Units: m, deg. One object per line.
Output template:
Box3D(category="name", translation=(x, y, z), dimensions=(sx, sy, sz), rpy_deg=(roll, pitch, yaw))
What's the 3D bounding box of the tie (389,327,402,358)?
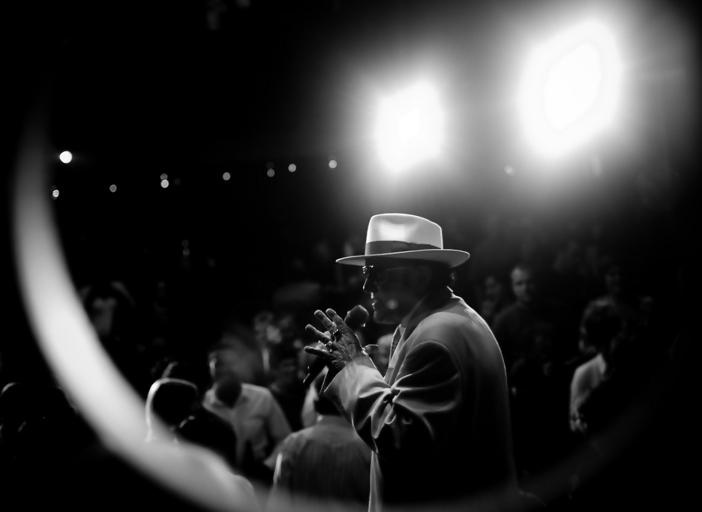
Box3D(category="tie", translation=(0.340, 0.669, 6.041), dimensions=(0.065, 0.195, 0.137), rpy_deg=(7, 24, -9))
